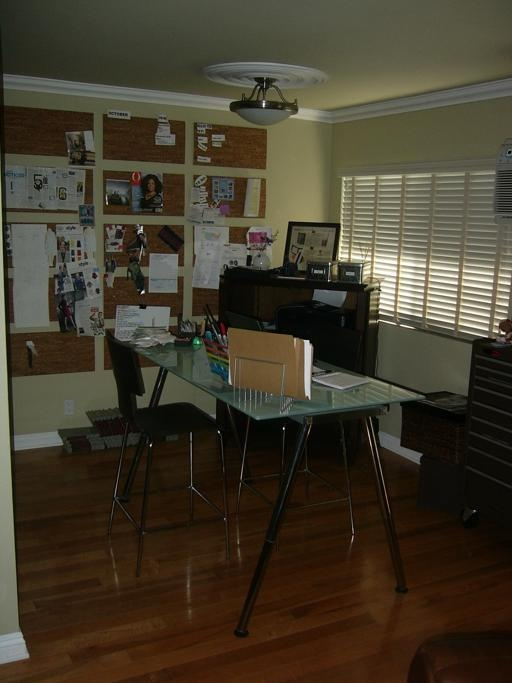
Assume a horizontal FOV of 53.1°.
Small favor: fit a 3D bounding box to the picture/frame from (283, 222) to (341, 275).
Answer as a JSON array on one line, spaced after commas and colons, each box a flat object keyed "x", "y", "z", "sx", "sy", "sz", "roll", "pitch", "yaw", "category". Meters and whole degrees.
[{"x": 0.455, "y": -0.743, "z": 4.129, "sx": 0.491, "sy": 0.479, "sz": 0.035, "roll": 2, "pitch": -6, "yaw": 30, "category": "picture/frame"}]

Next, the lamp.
[{"x": 0.082, "y": -1.481, "z": 3.007, "sx": 0.564, "sy": 0.243, "sz": 0.553, "roll": 4, "pitch": 1, "yaw": -38, "category": "lamp"}]

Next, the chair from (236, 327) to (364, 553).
[{"x": 0.237, "y": 0.386, "z": 1.977, "sx": 0.396, "sy": 0.702, "sz": 0.454, "roll": 11, "pitch": -4, "yaw": 26, "category": "chair"}]

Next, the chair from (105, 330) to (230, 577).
[{"x": -0.412, "y": 0.520, "z": 2.524, "sx": 0.468, "sy": 0.955, "sz": 0.414, "roll": -2, "pitch": 1, "yaw": -22, "category": "chair"}]
